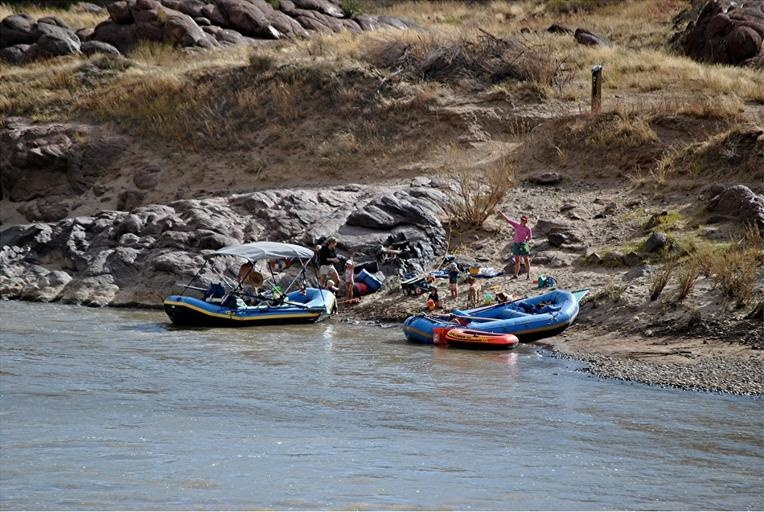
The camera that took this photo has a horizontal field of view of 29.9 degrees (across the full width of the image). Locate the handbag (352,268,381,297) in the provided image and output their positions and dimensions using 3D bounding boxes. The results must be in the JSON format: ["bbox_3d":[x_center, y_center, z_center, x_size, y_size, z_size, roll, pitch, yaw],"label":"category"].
[{"bbox_3d":[-0.513,1.004,51.583,1.069,0.675,0.893,15,46,-6],"label":"handbag"}]

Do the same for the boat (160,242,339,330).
[{"bbox_3d":[-4.631,1.026,49.919,5.271,2.001,3.099,1,-2,-20],"label":"boat"}]

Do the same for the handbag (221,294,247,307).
[{"bbox_3d":[-5.046,1.558,49.174,0.719,0.267,0.393,-3,3,-15],"label":"handbag"}]

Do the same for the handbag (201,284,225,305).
[{"bbox_3d":[-5.752,1.238,49.561,0.787,0.786,0.606,13,21,-23],"label":"handbag"}]

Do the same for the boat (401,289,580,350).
[{"bbox_3d":[3.728,2.053,47.501,4.490,0.905,2.355,-7,-7,-11],"label":"boat"}]

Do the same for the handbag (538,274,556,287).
[{"bbox_3d":[5.664,0.879,49.337,0.625,0.349,0.593,6,16,9],"label":"handbag"}]
